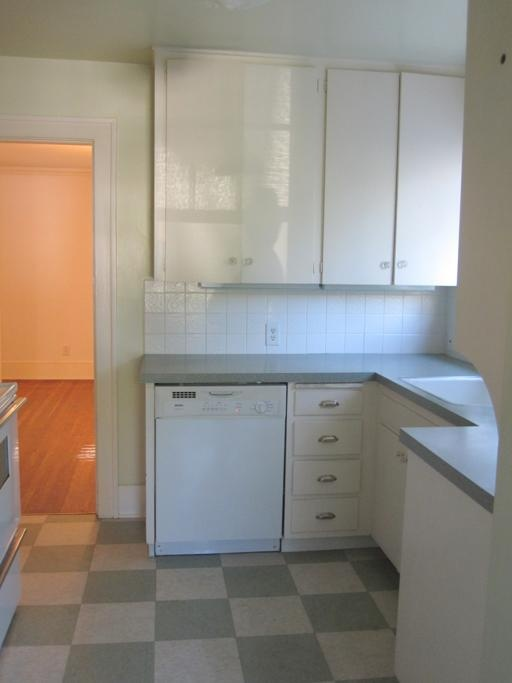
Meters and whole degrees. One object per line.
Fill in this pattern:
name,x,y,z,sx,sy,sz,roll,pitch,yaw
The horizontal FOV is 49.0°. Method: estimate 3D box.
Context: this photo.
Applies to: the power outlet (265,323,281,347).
power outlet,0.081,-0.038,2.756,0.079,0.183,0.057,0,9,1
